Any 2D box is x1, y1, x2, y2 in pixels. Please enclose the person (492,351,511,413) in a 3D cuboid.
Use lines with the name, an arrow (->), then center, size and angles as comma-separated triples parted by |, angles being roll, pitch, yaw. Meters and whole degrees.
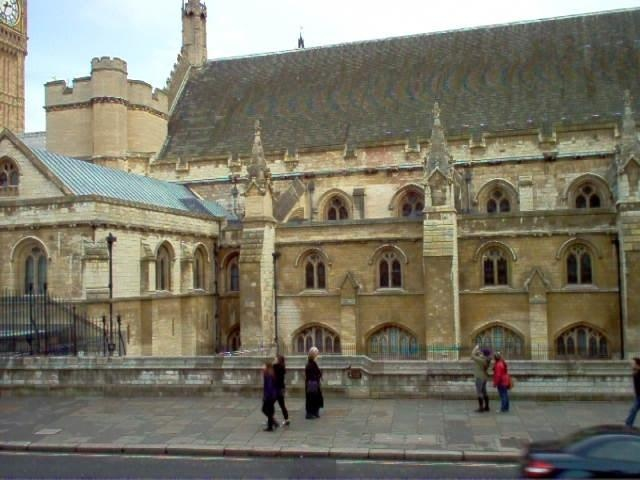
person -> 6.744, 5.252, 36.876 | 0.656, 2.178, 1.064 | -2, -8, 10

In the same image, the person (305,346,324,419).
person -> -0.217, 5.217, 36.297 | 0.638, 2.517, 0.731 | 0, -8, -1

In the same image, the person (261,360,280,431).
person -> -1.743, 5.527, 35.167 | 0.525, 2.415, 0.821 | 0, -8, -3

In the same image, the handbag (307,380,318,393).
handbag -> -0.247, 5.272, 35.946 | 0.370, 0.350, 0.369 | 0, 3, -14

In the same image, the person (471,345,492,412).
person -> 5.986, 5.156, 37.096 | 0.649, 2.384, 1.356 | -2, -8, 9
